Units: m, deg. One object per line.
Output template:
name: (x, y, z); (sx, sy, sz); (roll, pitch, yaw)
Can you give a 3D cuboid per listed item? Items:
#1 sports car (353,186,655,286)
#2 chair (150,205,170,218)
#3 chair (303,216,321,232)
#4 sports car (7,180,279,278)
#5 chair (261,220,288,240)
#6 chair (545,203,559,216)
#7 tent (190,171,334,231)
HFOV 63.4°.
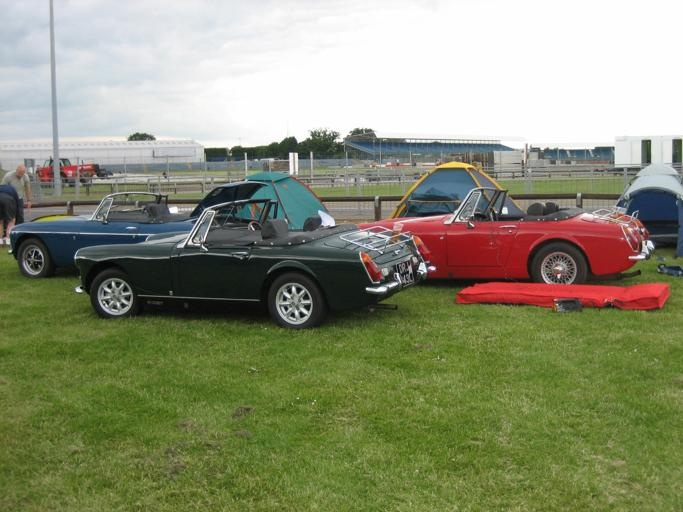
sports car: (3.029, -0.233, 9.929); (4.470, 1.349, 2.107); (2, 4, 20)
chair: (-3.725, -0.907, 11.275); (0.328, 0.187, 0.365); (29, 21, 37)
chair: (-0.445, -0.503, 8.309); (0.225, 0.201, 0.306); (9, 13, 38)
sports car: (-4.397, -0.541, 11.597); (4.931, 1.427, 2.404); (-3, 6, 17)
chair: (-0.927, -0.382, 7.858); (0.305, 0.301, 0.351); (-9, -1, 36)
chair: (3.681, -0.820, 9.684); (0.274, 0.179, 0.143); (-11, -8, 16)
tent: (-1.588, -1.395, 12.589); (2.194, 0.782, 2.115); (2, 5, 25)
